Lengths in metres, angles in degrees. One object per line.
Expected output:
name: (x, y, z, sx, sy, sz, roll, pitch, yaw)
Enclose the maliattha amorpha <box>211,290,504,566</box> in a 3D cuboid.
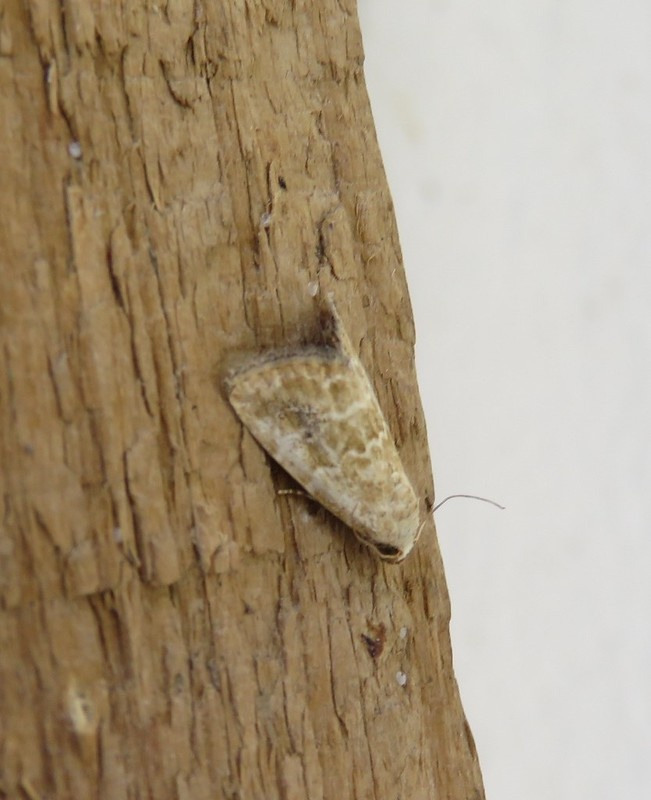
maliattha amorpha: (0.035, 0.007, 3.302, 0.379, 0.263, 0.327, 24, -56, -35)
